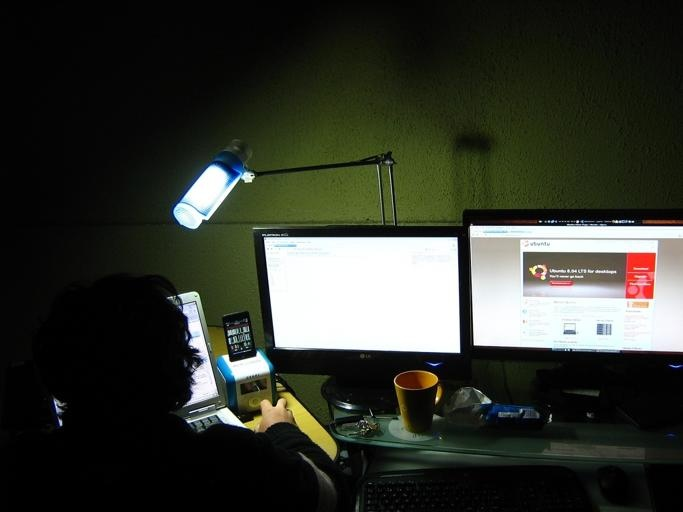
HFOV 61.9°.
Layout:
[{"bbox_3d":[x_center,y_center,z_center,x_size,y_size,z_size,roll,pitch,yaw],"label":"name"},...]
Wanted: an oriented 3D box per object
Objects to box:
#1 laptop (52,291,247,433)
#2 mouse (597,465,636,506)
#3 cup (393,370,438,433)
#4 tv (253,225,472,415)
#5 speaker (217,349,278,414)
[{"bbox_3d":[-0.561,0.276,1.796,0.517,0.377,0.430,-5,16,-24],"label":"laptop"},{"bbox_3d":[0.704,0.589,1.465,0.064,0.094,0.031,-5,-36,17],"label":"mouse"},{"bbox_3d":[0.202,0.404,1.626,0.116,0.153,0.176,-2,4,43],"label":"cup"},{"bbox_3d":[0.079,0.181,1.731,0.560,0.484,0.244,-1,12,8],"label":"tv"},{"bbox_3d":[-0.300,0.378,1.843,0.164,0.148,0.167,-12,19,-33],"label":"speaker"}]
